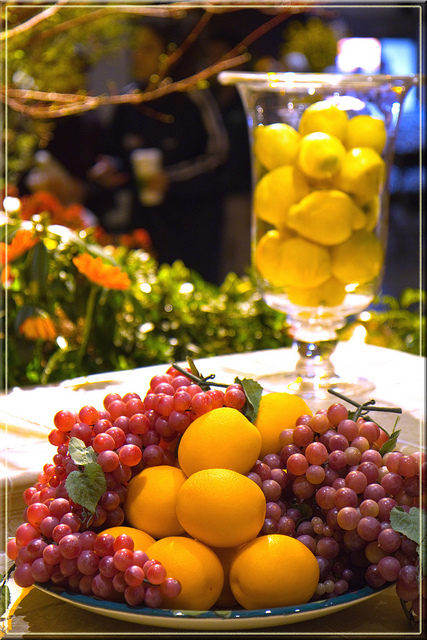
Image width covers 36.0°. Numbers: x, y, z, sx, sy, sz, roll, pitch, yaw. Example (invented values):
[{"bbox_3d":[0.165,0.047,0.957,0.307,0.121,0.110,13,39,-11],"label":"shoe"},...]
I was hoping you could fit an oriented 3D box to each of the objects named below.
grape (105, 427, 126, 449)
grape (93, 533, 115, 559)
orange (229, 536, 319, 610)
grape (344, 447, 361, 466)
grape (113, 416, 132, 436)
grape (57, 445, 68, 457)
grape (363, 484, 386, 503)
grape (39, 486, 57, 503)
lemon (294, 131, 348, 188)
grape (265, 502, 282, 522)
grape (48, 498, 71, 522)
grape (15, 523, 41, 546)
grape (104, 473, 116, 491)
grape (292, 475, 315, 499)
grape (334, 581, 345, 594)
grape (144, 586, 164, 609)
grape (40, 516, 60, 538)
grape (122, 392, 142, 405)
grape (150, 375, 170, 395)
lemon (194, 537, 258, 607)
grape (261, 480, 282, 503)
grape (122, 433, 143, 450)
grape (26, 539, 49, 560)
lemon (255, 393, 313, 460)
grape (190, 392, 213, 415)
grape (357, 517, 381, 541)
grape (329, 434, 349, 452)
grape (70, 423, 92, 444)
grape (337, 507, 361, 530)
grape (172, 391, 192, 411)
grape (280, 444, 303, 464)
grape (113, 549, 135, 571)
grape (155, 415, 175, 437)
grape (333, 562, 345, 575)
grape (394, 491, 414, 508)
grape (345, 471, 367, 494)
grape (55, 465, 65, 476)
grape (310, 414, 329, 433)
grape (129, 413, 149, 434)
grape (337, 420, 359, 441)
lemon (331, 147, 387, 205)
[{"bbox_3d":[-0.054,0.066,0.369,0.012,0.011,0.010,-2,-36,-6],"label":"grape"},{"bbox_3d":[-0.054,0.112,0.331,0.012,0.011,0.011,1,3,6],"label":"grape"},{"bbox_3d":[0.029,0.123,0.319,0.035,0.027,0.026,-21,-6,-33],"label":"orange"},{"bbox_3d":[0.079,0.077,0.373,0.010,0.010,0.009,1,4,5],"label":"grape"},{"bbox_3d":[-0.052,0.061,0.380,0.010,0.010,0.010,0,5,5],"label":"grape"},{"bbox_3d":[-0.086,0.075,0.376,0.006,0.006,0.005,-7,6,-7],"label":"grape"},{"bbox_3d":[0.087,0.094,0.356,0.010,0.010,0.009,1,-7,3],"label":"grape"},{"bbox_3d":[-0.092,0.097,0.371,0.010,0.010,0.009,2,8,-1],"label":"grape"},{"bbox_3d":[0.108,-0.161,0.651,0.050,0.052,0.047,-1,3,8],"label":"lemon"},{"bbox_3d":[0.032,0.102,0.349,0.009,0.010,0.009,7,-15,29],"label":"grape"},{"bbox_3d":[-0.080,0.101,0.350,0.012,0.012,0.011,5,-13,-10],"label":"grape"},{"bbox_3d":[-0.099,0.114,0.359,0.014,0.013,0.012,3,14,5],"label":"grape"},{"bbox_3d":[-0.056,0.087,0.357,0.009,0.009,0.008,-2,5,-9],"label":"grape"},{"bbox_3d":[0.050,0.094,0.369,0.014,0.013,0.012,2,-13,-1],"label":"grape"},{"bbox_3d":[0.066,0.140,0.343,0.006,0.004,0.004,-31,-27,28],"label":"grape"},{"bbox_3d":[-0.028,0.132,0.318,0.012,0.012,0.011,2,-5,-2],"label":"grape"},{"bbox_3d":[-0.087,0.108,0.347,0.011,0.011,0.010,1,3,5],"label":"grape"},{"bbox_3d":[-0.052,0.049,0.412,0.008,0.008,0.007,1,-13,3],"label":"grape"},{"bbox_3d":[-0.032,0.039,0.409,0.012,0.011,0.010,3,-15,-3],"label":"grape"},{"bbox_3d":[0.007,0.130,0.336,0.037,0.037,0.034,0,5,5],"label":"lemon"},{"bbox_3d":[0.031,0.093,0.360,0.012,0.012,0.011,0,9,4],"label":"grape"},{"bbox_3d":[-0.046,0.069,0.375,0.009,0.009,0.008,4,-23,-5],"label":"grape"},{"bbox_3d":[-0.091,0.119,0.344,0.011,0.010,0.010,-2,13,-13],"label":"grape"},{"bbox_3d":[0.041,0.067,0.407,0.044,0.043,0.039,-2,-11,-4],"label":"lemon"},{"bbox_3d":[-0.006,0.046,0.366,0.012,0.010,0.011,-1,1,-1],"label":"grape"},{"bbox_3d":[0.080,0.107,0.343,0.012,0.012,0.012,2,3,4],"label":"grape"},{"bbox_3d":[0.070,0.070,0.373,0.010,0.009,0.009,0,1,1],"label":"grape"},{"bbox_3d":[-0.073,0.064,0.374,0.012,0.011,0.011,1,6,4],"label":"grape"},{"bbox_3d":[0.069,0.102,0.344,0.013,0.012,0.012,1,1,7],"label":"grape"},{"bbox_3d":[-0.018,0.045,0.370,0.012,0.011,0.011,2,-1,-5],"label":"grape"},{"bbox_3d":[0.043,0.076,0.375,0.011,0.011,0.010,5,4,-9],"label":"grape"},{"bbox_3d":[-0.042,0.115,0.320,0.011,0.009,0.010,2,12,6],"label":"grape"},{"bbox_3d":[-0.028,0.060,0.379,0.013,0.013,0.012,2,5,2],"label":"grape"},{"bbox_3d":[0.068,0.135,0.359,0.006,0.006,0.005,0,9,-1],"label":"grape"},{"bbox_3d":[0.105,0.099,0.367,0.009,0.009,0.008,-2,15,2],"label":"grape"},{"bbox_3d":[0.077,0.088,0.358,0.013,0.013,0.012,0,-6,-14],"label":"grape"},{"bbox_3d":[-0.087,0.086,0.375,0.007,0.006,0.003,1,5,37],"label":"grape"},{"bbox_3d":[0.061,0.059,0.379,0.011,0.011,0.010,-1,2,1],"label":"grape"},{"bbox_3d":[-0.043,0.058,0.375,0.012,0.011,0.011,2,-10,-13],"label":"grape"},{"bbox_3d":[0.078,0.063,0.379,0.012,0.012,0.012,-5,3,-2],"label":"grape"},{"bbox_3d":[0.147,-0.145,0.661,0.065,0.053,0.056,-1,6,-13],"label":"lemon"}]
